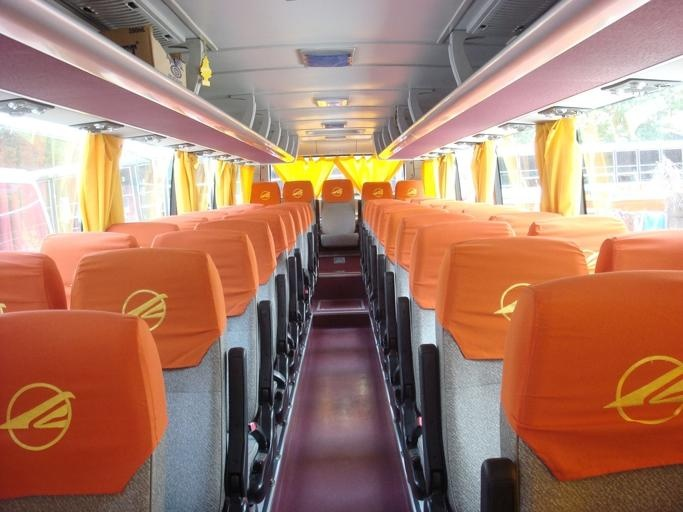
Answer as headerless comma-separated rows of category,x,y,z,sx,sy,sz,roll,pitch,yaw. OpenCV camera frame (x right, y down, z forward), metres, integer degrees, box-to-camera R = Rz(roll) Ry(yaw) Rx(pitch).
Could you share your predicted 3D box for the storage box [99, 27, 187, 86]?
storage box,-1.425,-1.456,3.592,0.378,0.319,0.693,-7,0,13
